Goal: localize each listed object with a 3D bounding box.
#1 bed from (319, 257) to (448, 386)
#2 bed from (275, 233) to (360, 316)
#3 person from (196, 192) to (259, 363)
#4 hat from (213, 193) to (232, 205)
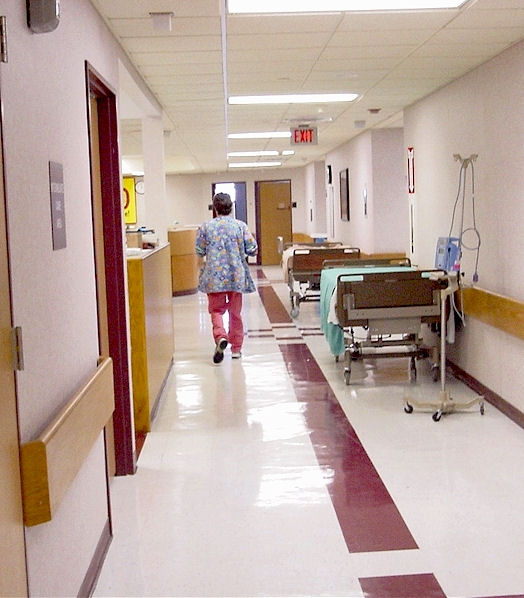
[{"bbox_3d":[1.161,0.150,4.905,0.970,1.126,1.613,-2,7,8],"label":"bed"},{"bbox_3d":[0.820,-0.395,8.576,0.860,0.965,1.855,0,6,-3],"label":"bed"},{"bbox_3d":[-0.375,-0.245,5.456,0.638,1.853,0.384,-2,4,-4],"label":"person"},{"bbox_3d":[-0.434,-1.077,5.501,0.151,0.191,0.138,-2,33,-15],"label":"hat"}]
